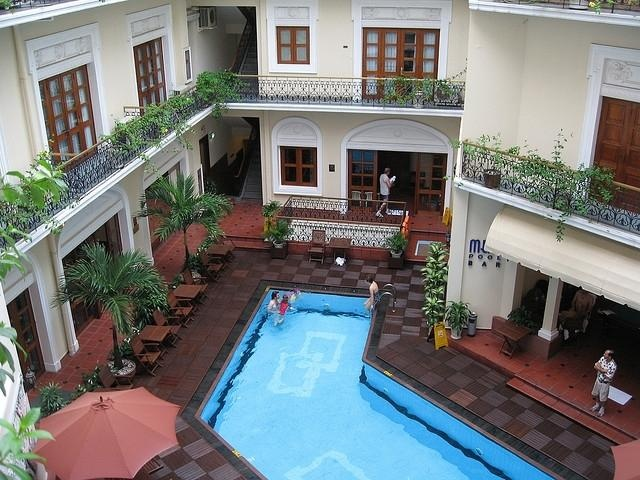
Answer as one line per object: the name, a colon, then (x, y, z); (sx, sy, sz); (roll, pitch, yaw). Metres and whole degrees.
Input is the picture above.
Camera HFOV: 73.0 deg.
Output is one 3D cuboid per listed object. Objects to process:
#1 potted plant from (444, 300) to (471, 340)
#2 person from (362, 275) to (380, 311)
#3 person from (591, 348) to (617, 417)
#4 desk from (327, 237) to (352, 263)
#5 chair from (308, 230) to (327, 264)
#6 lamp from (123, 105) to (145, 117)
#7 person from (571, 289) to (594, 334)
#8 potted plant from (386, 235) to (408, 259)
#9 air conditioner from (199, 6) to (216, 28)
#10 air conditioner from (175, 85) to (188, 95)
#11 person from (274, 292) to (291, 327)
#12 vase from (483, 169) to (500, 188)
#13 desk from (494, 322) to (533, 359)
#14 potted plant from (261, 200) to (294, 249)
potted plant: (4.258, 2.513, 13.522); (0.745, 1.100, 0.552); (6, 18, 14)
person: (1.891, 1.733, 15.660); (0.422, 1.253, 1.494); (5, 18, 11)
person: (7.301, 3.440, 11.157); (0.443, 1.788, 1.173); (13, 21, 35)
desk: (0.782, 0.364, 17.709); (0.905, 0.948, 0.990); (4, 41, 8)
chair: (-0.107, 0.280, 17.848); (0.749, 1.167, 0.766); (6, 18, 13)
lamp: (-6.609, -4.553, 15.350); (0.385, 0.355, 0.901); (2, 18, 0)
person: (7.821, 2.101, 12.984); (0.621, 1.262, 0.455); (-2, 17, -10)
potted plant: (3.058, 0.206, 17.375); (0.798, 0.999, 0.822); (2, 32, 7)
air conditioner: (-5.346, -10.471, 20.343); (0.404, 0.802, 1.270); (4, 33, 9)
air conditioner: (-5.881, -6.324, 18.237); (0.418, 0.393, 1.417); (0, 19, -6)
person: (-1.289, 2.351, 14.786); (0.388, 0.896, 0.833); (12, 20, 30)
vase: (4.562, -1.622, 11.522); (0.417, 0.371, 0.475); (4, 34, 7)
desk: (5.639, 2.955, 12.857); (0.919, 0.916, 0.826); (13, 21, 32)
potted plant: (-1.908, -0.728, 18.517); (1.068, 1.619, 1.928); (-4, 19, -18)
